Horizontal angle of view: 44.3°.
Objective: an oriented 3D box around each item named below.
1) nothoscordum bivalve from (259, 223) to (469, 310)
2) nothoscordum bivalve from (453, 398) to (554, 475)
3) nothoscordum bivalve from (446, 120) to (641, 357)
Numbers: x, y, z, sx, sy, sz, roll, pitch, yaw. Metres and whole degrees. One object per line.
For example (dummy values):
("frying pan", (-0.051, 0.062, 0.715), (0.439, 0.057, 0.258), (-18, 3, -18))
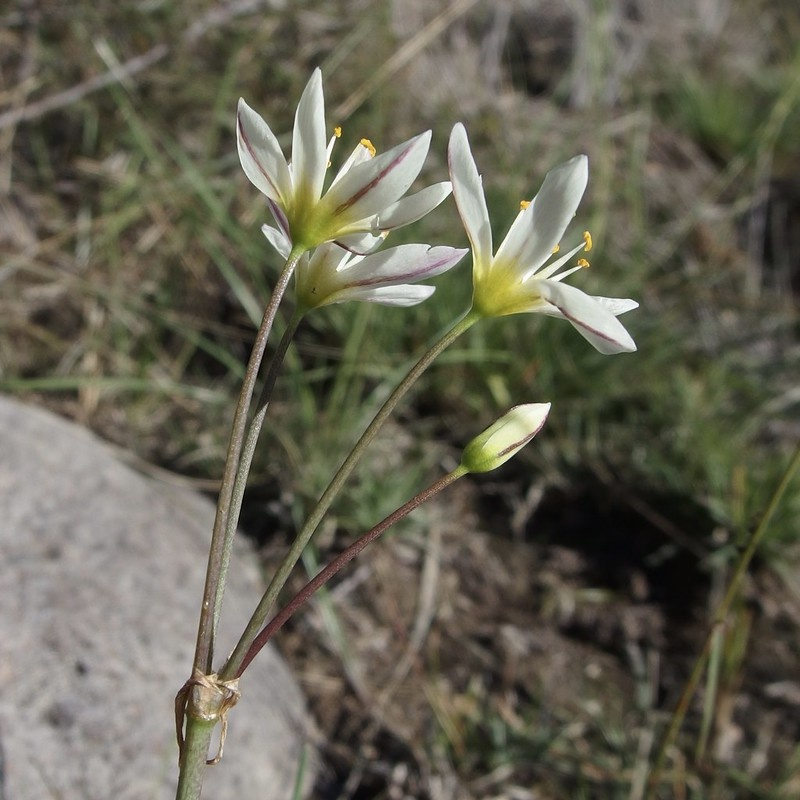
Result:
("nothoscordum bivalve", (-0.036, -0.177, 1.391), (0.157, 0.079, 0.175), (17, -3, -38))
("nothoscordum bivalve", (0.151, 0.052, 1.407), (0.062, 0.115, 0.141), (34, 50, 14))
("nothoscordum bivalve", (0.178, -0.203, 1.451), (0.187, 0.298, 0.324), (-28, 84, -21))
